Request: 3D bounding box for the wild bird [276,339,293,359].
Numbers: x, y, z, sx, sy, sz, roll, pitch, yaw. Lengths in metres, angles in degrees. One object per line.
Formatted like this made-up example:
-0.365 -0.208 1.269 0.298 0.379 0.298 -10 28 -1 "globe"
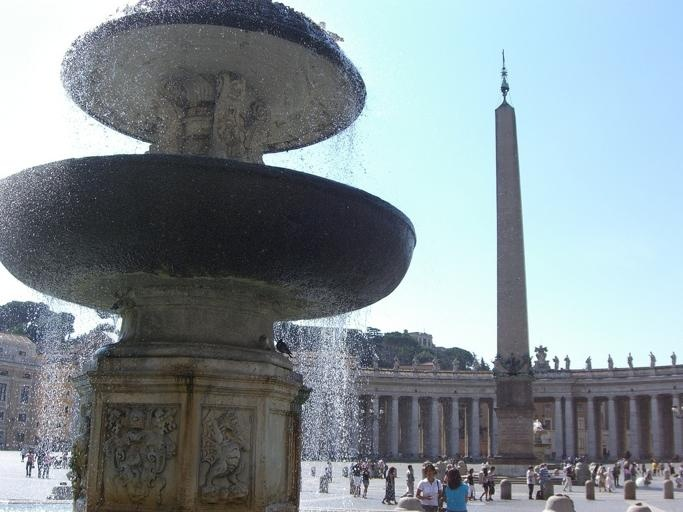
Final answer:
-0.767 1.421 15.013 0.208 0.241 0.492 -2 -12 15 "wild bird"
